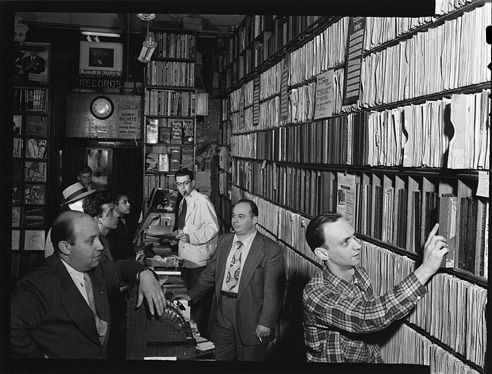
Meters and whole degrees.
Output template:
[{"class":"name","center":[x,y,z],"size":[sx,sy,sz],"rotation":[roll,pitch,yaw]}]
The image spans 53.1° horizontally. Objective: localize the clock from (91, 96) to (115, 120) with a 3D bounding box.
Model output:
[{"class":"clock","center":[-2.717,-1.504,9.361],"size":[0.396,0.455,0.083],"rotation":[5,9,-3]}]

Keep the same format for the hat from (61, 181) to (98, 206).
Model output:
[{"class":"hat","center":[-2.027,0.075,5.975],"size":[0.316,0.125,0.309],"rotation":[-26,9,36]}]

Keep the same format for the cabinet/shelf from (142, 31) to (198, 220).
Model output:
[{"class":"cabinet/shelf","center":[-1.474,-1.858,9.486],"size":[0.963,1.160,3.441],"rotation":[3,-39,-9]}]

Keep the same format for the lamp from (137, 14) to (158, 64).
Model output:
[{"class":"lamp","center":[-1.431,-2.208,7.389],"size":[0.266,0.713,0.277],"rotation":[4,7,36]}]

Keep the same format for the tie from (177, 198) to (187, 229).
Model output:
[{"class":"tie","center":[-0.779,0.336,6.262],"size":[0.037,0.399,0.116],"rotation":[5,-1,25]}]

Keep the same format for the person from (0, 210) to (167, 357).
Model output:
[{"class":"person","center":[-1.141,0.756,3.479],"size":[0.987,1.120,0.638],"rotation":[3,3,-9]}]

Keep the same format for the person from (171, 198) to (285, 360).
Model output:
[{"class":"person","center":[-0.138,1.157,4.693],"size":[0.857,2.013,0.645],"rotation":[3,3,14]}]
